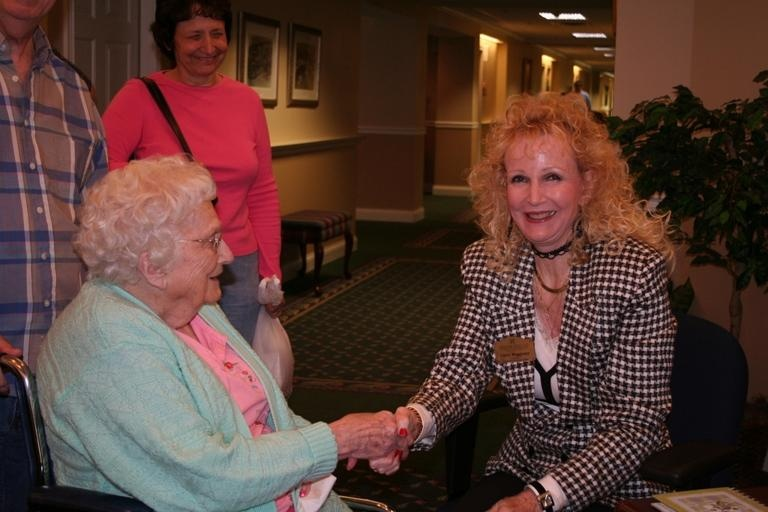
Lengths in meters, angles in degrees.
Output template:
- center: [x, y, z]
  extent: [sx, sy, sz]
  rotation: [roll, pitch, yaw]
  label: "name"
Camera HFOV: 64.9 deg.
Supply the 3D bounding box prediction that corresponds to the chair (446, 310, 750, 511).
- center: [0.839, 0.551, 2.349]
  extent: [0.838, 0.913, 0.828]
  rotation: [-8, -25, 29]
  label: "chair"
